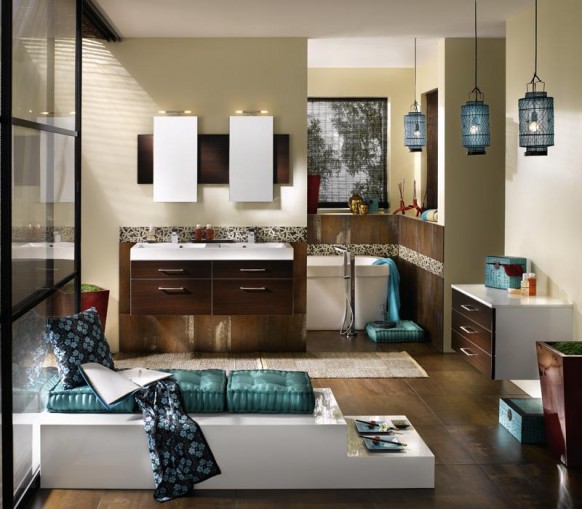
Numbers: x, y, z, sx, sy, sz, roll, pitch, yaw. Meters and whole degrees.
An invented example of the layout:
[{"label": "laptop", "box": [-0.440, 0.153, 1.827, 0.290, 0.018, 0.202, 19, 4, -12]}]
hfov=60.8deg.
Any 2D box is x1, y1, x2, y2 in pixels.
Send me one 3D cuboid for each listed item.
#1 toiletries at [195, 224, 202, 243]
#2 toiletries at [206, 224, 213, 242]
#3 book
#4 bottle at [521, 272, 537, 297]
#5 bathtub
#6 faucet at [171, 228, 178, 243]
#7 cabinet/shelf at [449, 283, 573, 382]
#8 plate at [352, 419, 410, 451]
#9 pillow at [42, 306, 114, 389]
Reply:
[{"label": "toiletries", "box": [-1.004, -0.228, 5.388, 0.078, 0.189, 0.074, -1, 4, -20]}, {"label": "toiletries", "box": [-0.889, -0.229, 5.400, 0.089, 0.188, 0.119, 1, 4, -1]}, {"label": "book", "box": [-0.983, 0.747, 3.002, 0.395, 0.203, 0.466, 4, 6, 34]}, {"label": "bottle", "box": [1.904, 0.249, 3.968, 0.145, 0.270, 0.081, 1, 2, 24]}, {"label": "bathtub", "box": [0.654, 0.514, 6.529, 1.088, 0.697, 0.757, 0, -2, -12]}, {"label": "faucet", "box": [-1.269, -0.207, 5.403, 0.079, 0.146, 0.080, 0, 4, -14]}, {"label": "cabinet/shelf", "box": [1.749, 0.634, 3.969, 0.672, 0.665, 0.795, 1, 5, -5]}, {"label": "plate", "box": [0.562, 1.116, 3.110, 0.333, 0.059, 0.472, 2, 5, 10]}, {"label": "pillow", "box": [-1.293, 0.563, 2.994, 0.112, 0.410, 0.406, -14, -1, 19]}]
